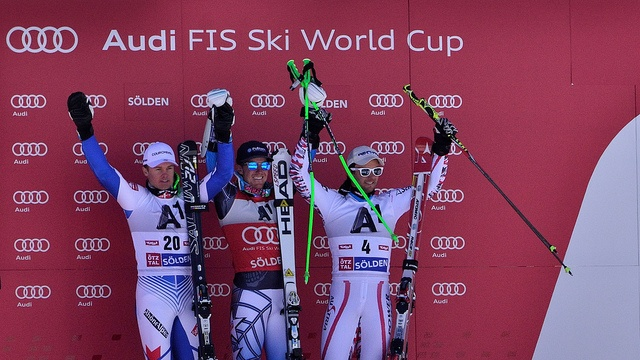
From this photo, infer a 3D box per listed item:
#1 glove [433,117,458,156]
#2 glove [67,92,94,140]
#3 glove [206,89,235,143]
[{"bbox_3d":[1.435,-0.507,10.733,0.311,0.403,0.179,7,12,-23],"label":"glove"},{"bbox_3d":[-2.675,-0.723,10.225,0.293,0.521,0.166,-10,18,-11],"label":"glove"},{"bbox_3d":[-1.136,-0.736,10.423,0.330,0.567,0.235,-5,12,-3],"label":"glove"}]
